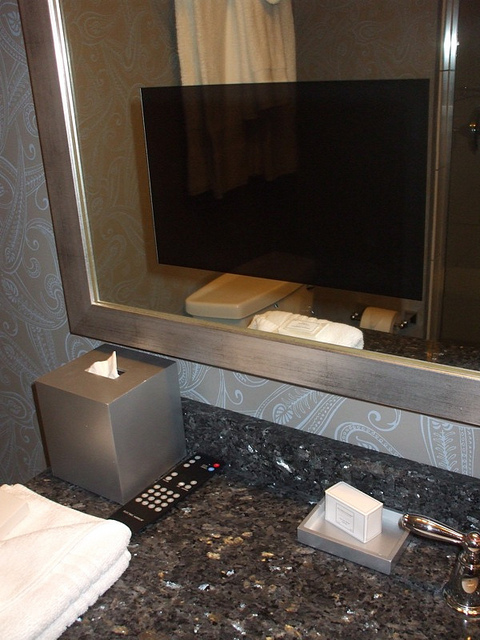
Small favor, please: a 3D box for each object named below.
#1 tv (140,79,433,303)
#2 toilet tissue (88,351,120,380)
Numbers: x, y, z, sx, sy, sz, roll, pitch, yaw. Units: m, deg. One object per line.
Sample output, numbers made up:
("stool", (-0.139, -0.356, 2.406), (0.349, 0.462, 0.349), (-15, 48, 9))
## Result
("tv", (0.039, -0.199, 0.768), (0.482, 0.300, 0.021), (12, 28, 33))
("toilet tissue", (-0.255, 0.089, 0.961), (0.052, 0.030, 0.062), (-9, 23, -15))
